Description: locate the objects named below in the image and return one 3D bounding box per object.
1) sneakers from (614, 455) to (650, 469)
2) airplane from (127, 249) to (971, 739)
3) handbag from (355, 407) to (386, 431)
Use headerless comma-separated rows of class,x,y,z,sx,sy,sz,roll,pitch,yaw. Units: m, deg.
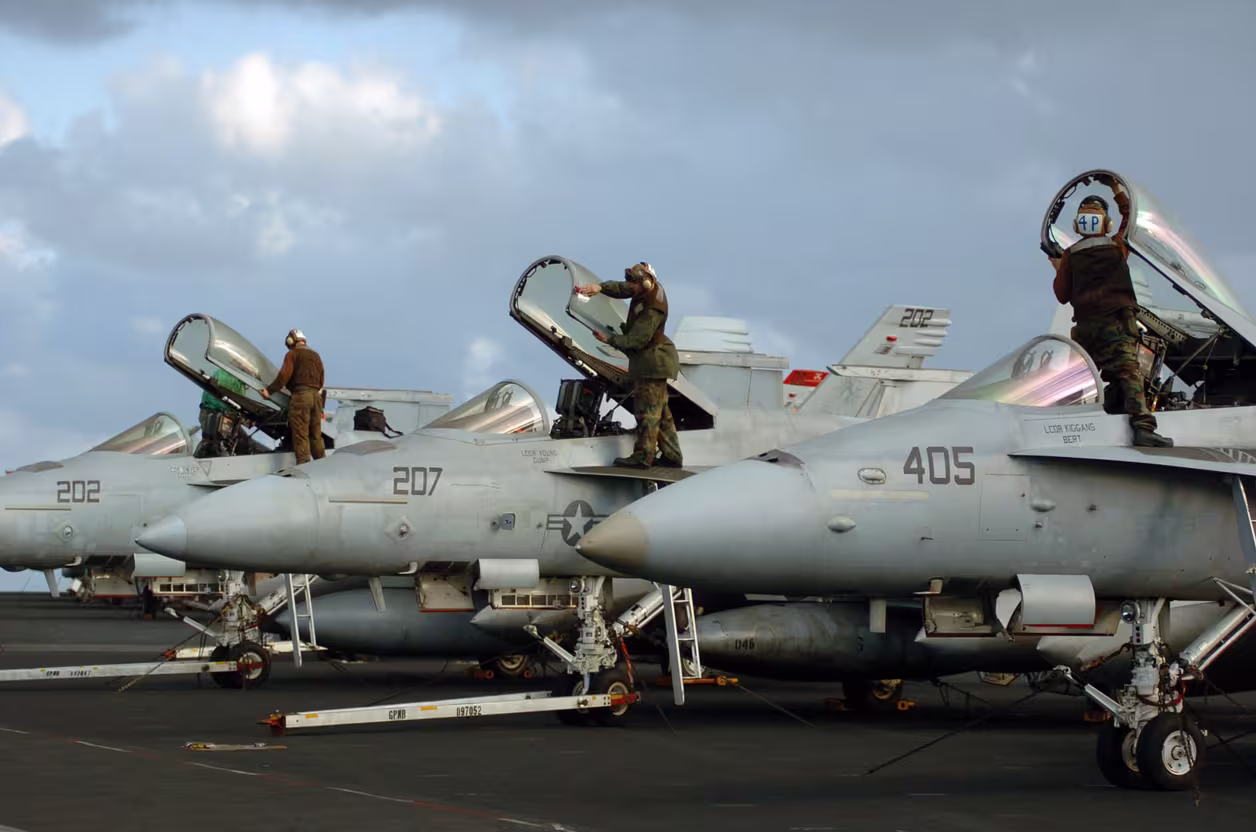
sneakers,0.090,0.503,16.622,0.448,0.216,0.132,3,-7,5
airplane,-1.429,0.684,16.858,7.657,2.688,5.526,-1,0,-21
handbag,-3.523,0.055,21.057,0.431,0.283,0.475,3,-6,-13
